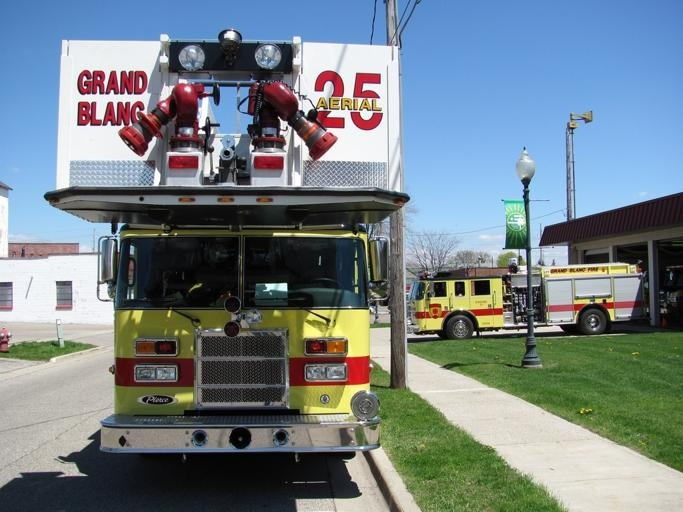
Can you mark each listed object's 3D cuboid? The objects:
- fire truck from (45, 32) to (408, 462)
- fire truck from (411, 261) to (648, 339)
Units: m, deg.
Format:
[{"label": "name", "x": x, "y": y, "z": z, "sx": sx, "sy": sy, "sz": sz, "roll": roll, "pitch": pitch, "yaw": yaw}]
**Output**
[{"label": "fire truck", "x": -1.415, "y": -0.055, "z": 10.037, "sx": 2.628, "sy": 3.411, "sz": 6.011, "roll": 0, "pitch": -2, "yaw": -1}, {"label": "fire truck", "x": 5.929, "y": 1.476, "z": 22.222, "sx": 7.105, "sy": 2.312, "sz": 1.702, "roll": -1, "pitch": -3, "yaw": -5}]
